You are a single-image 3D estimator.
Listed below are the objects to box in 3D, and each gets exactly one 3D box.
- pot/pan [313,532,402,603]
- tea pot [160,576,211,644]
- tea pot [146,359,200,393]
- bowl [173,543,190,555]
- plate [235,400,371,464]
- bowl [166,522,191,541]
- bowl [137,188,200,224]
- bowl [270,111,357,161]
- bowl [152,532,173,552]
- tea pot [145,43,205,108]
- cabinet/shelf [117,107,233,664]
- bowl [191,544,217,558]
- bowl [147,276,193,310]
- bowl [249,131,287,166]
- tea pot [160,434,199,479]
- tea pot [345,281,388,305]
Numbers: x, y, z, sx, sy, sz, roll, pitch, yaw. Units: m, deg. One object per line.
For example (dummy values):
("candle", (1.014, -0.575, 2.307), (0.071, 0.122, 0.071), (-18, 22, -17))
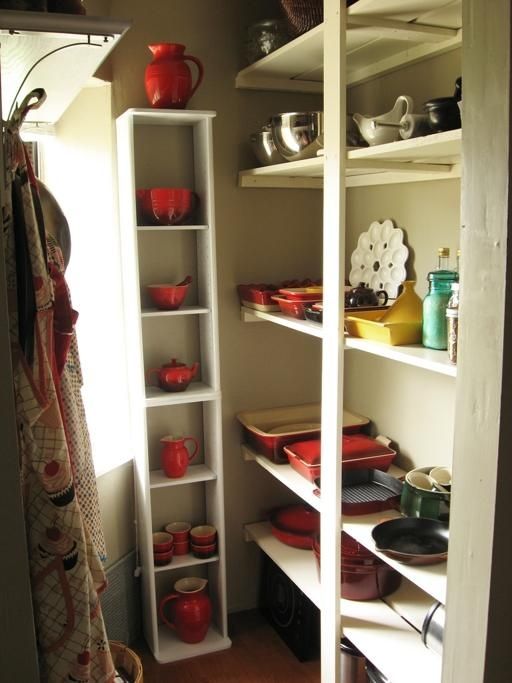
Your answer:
("pot/pan", (0.307, 0.709, 1.852), (0.268, 0.158, 0.210), (2, -13, 13))
("tea pot", (-0.258, 1.059, 2.315), (0.146, 0.185, 0.189), (-3, -36, -13))
("tea pot", (-0.304, 0.126, 2.251), (0.176, 0.107, 0.118), (-5, 4, -22))
("bowl", (-0.289, 0.805, 2.323), (0.053, 0.040, 0.051), (2, 3, 0))
("plate", (0.125, 0.346, 2.452), (0.295, 0.092, 0.257), (-6, 10, -23))
("bowl", (-0.305, 0.750, 2.370), (0.064, 0.046, 0.058), (-3, 5, -41))
("bowl", (-0.305, -0.466, 2.130), (0.170, 0.079, 0.138), (-4, 6, -24))
("bowl", (0.163, -0.599, 1.890), (0.193, 0.108, 0.190), (-1, 6, 0))
("bowl", (-0.366, 0.771, 2.304), (0.058, 0.043, 0.051), (-1, 4, -31))
("tea pot", (-0.290, -0.887, 1.997), (0.246, 0.238, 0.184), (-13, 28, -27))
("cabinet/shelf", (-0.294, 0.176, 2.257), (0.400, 2.009, 0.373), (-4, 9, -9))
("bowl", (-0.194, 0.805, 2.303), (0.062, 0.040, 0.065), (-1, -4, 0))
("bowl", (-0.318, -0.174, 2.209), (0.143, 0.101, 0.121), (-4, 4, -17))
("bowl", (0.037, -0.692, 2.166), (0.122, 0.100, 0.139), (-11, 19, -25))
("tea pot", (-0.301, 0.446, 2.349), (0.177, 0.172, 0.133), (-1, -1, -28))
("tea pot", (0.311, -0.134, 1.750), (0.093, 0.085, 0.123), (-4, 6, -32))
